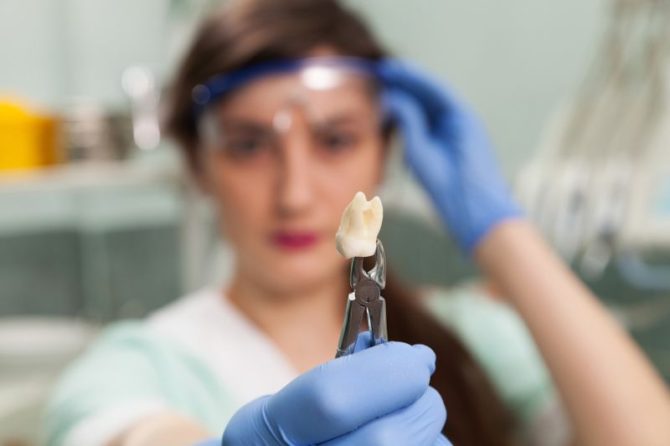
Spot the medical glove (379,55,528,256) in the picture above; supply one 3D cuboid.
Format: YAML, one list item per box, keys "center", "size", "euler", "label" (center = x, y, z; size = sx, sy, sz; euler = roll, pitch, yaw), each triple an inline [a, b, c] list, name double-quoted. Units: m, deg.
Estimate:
- center: [0.223, -0.124, 1.395]
  size: [0.228, 0.442, 0.113]
  euler: [-27, 11, -22]
  label: "medical glove"

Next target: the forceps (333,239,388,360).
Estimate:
- center: [0.046, 0.124, 1.036]
  size: [0.075, 0.207, 0.111]
  euler: [7, 27, 15]
  label: "forceps"
